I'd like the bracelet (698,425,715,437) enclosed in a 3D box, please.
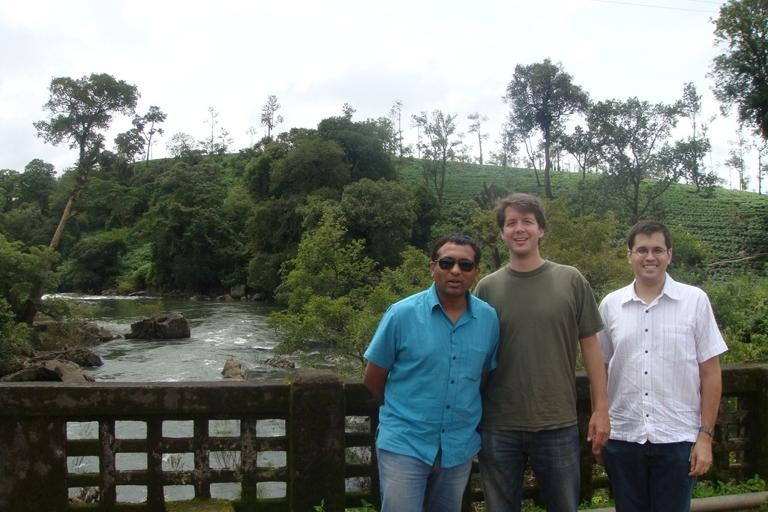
[{"bbox_3d":[3.446,1.866,7.248,0.144,0.098,0.151,18,-13,10],"label":"bracelet"}]
